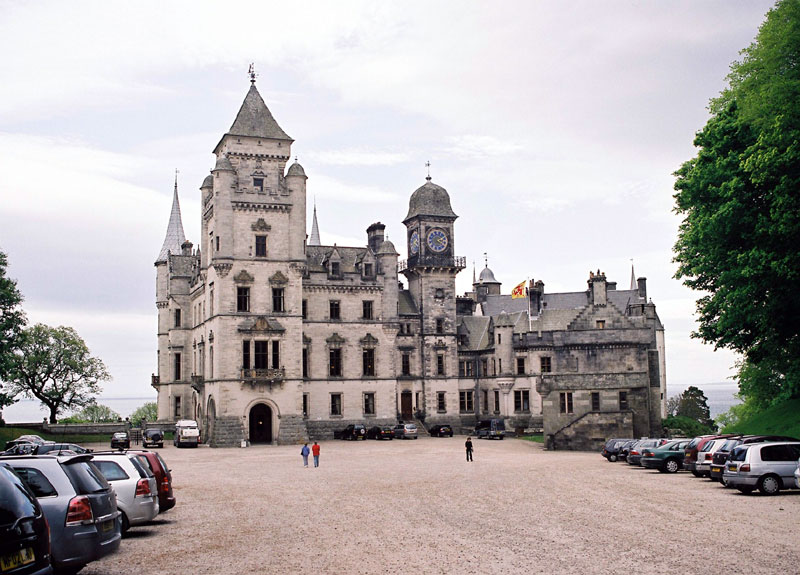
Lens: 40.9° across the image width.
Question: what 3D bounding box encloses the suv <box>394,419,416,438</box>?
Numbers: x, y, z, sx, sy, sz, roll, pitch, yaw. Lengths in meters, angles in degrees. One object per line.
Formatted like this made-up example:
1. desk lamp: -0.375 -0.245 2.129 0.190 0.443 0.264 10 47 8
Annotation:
1. suv: 0.372 12.027 90.066 1.767 1.323 2.163 -2 -9 0

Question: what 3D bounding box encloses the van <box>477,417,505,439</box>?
1. van: 7.563 11.903 90.348 1.482 1.104 2.154 2 -1 -27

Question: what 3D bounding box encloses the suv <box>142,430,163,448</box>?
1. suv: -18.319 11.145 79.709 1.086 0.727 1.925 1 1 -18

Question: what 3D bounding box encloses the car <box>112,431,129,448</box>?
1. car: -19.851 10.830 76.455 1.658 1.234 3.470 0 -7 -13

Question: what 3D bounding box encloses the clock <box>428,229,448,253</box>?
1. clock: 3.418 -4.303 100.533 2.172 2.004 1.047 1 -6 -24

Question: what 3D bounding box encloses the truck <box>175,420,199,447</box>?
1. truck: -15.818 10.905 79.950 1.581 1.893 2.040 1 -10 -16

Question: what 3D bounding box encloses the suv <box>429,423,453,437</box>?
1. suv: 3.426 12.517 94.239 1.953 0.950 0.986 -6 -10 25

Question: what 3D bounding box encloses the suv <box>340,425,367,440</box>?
1. suv: -3.859 12.035 89.124 1.112 0.814 1.791 2 -2 -28
